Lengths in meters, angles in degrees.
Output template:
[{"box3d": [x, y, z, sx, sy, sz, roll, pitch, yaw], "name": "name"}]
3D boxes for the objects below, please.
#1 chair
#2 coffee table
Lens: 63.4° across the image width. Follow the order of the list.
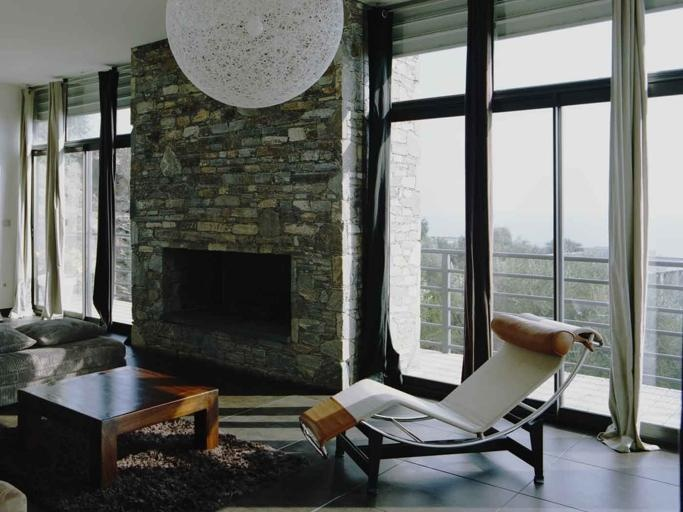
[{"box3d": [0.752, 0.968, 3.879, 1.997, 0.952, 0.830, -1, 1, -14], "name": "chair"}, {"box3d": [-1.679, 1.218, 4.182, 1.102, 0.434, 1.138, 6, 2, 37], "name": "coffee table"}]
